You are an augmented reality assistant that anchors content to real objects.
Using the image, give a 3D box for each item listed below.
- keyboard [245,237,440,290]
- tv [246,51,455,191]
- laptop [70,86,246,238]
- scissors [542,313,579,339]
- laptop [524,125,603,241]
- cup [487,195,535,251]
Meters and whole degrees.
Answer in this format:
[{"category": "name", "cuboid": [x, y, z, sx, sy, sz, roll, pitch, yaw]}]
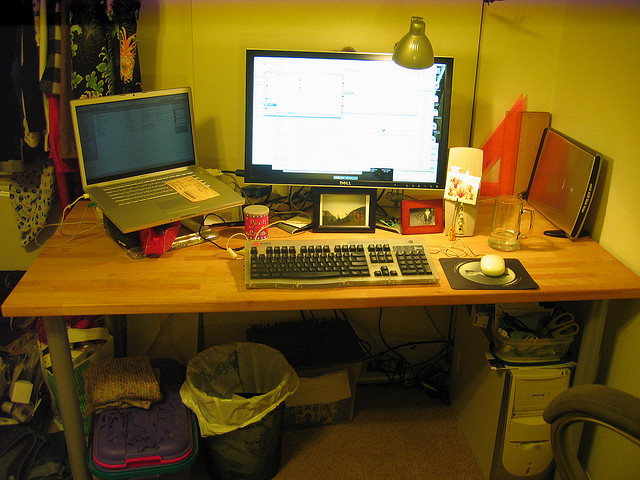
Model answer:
[{"category": "keyboard", "cuboid": [0.071, 0.081, 1.873, 0.664, 0.110, 0.194, -2, 19, -4]}, {"category": "tv", "cuboid": [0.106, -0.471, 2.027, 0.528, 0.383, 0.011, 1, 18, -1]}, {"category": "laptop", "cuboid": [-0.592, -0.317, 1.947, 0.470, 0.358, 0.535, 25, 34, 32]}, {"category": "scissors", "cuboid": [0.913, 0.331, 2.013, 0.109, 0.027, 0.115, -31, 43, 25]}, {"category": "laptop", "cuboid": [0.996, -0.224, 2.135, 0.117, 0.350, 0.351, -5, 28, -7]}, {"category": "cup", "cuboid": [0.757, -0.060, 2.075, 0.174, 0.188, 0.115, 10, 15, 29]}]
